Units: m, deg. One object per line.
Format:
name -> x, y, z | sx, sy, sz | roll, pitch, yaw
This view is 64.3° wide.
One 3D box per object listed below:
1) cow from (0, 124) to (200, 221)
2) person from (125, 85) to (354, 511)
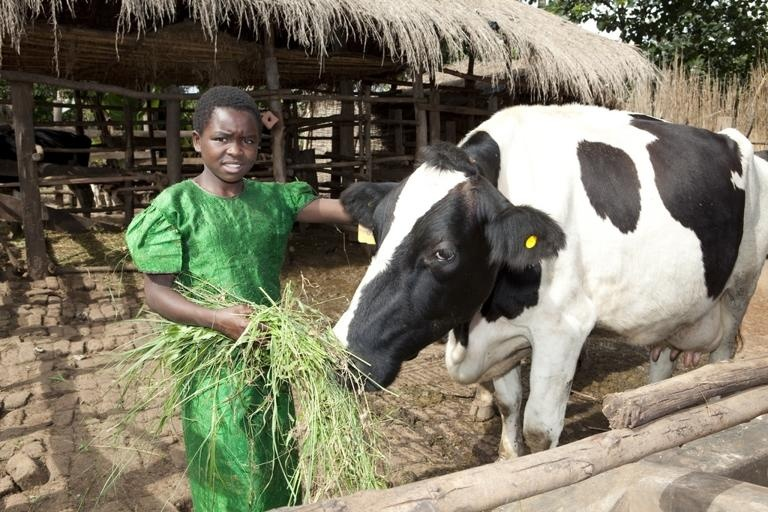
cow -> -5.126, -1.534, 9.984 | 2.374, 0.887, 2.390 | 11, 9, 39
person -> -0.775, 0.243, 3.337 | 0.733, 2.290, 0.881 | 8, 14, 35
